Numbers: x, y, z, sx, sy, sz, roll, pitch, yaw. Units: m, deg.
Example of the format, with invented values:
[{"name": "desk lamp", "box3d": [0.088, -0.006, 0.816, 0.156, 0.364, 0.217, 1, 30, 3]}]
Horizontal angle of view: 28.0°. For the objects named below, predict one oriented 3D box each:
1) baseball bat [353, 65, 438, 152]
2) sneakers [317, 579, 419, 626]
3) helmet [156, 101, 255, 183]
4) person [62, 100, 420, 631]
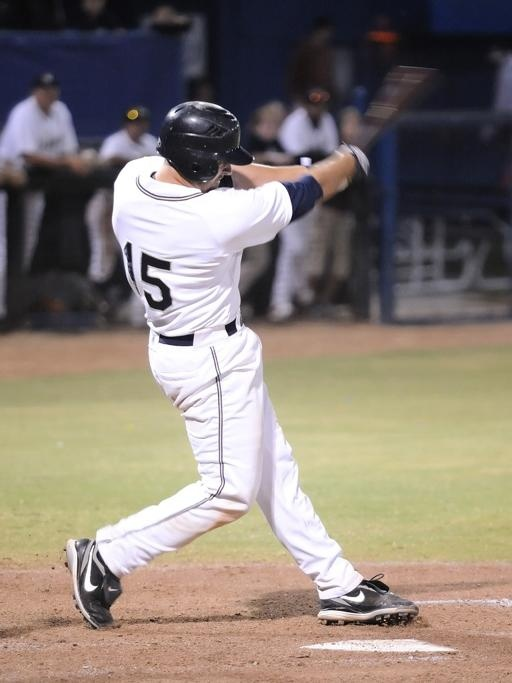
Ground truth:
[{"name": "baseball bat", "box3d": [0.386, -0.677, 2.939, 0.134, 0.021, 0.410, 39, 67, 11]}, {"name": "sneakers", "box3d": [0.305, 0.726, 2.849, 0.299, 0.103, 0.104, -9, -25, 23]}, {"name": "helmet", "box3d": [-0.152, -0.525, 2.706, 0.274, 0.172, 0.213, 9, 22, 11]}, {"name": "person", "box3d": [-0.083, 0.096, 2.783, 0.896, 1.464, 0.443, -3, 15, -9]}]
